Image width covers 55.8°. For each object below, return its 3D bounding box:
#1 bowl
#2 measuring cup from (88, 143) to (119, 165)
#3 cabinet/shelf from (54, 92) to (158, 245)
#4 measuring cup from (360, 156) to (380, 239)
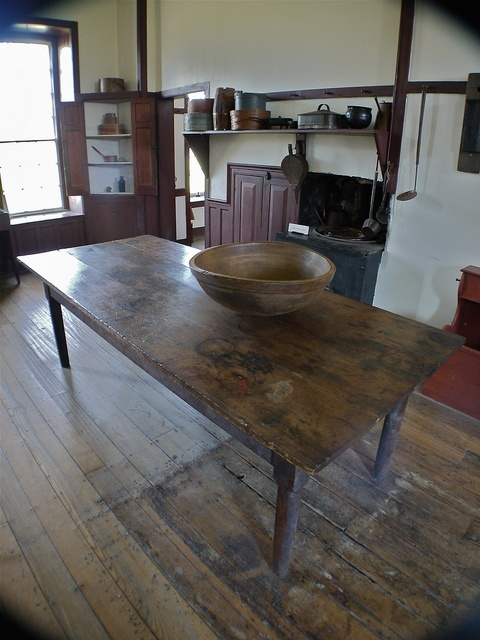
[{"bbox_3d":[0.085,-0.157,1.809,0.548,0.132,0.552,2,23,-1],"label":"bowl"},{"bbox_3d":[-1.711,-2.081,5.725,0.290,0.187,0.158,8,24,16],"label":"measuring cup"},{"bbox_3d":[-1.573,-1.758,5.681,1.151,1.794,0.558,0,22,-4],"label":"cabinet/shelf"},{"bbox_3d":[0.996,-0.896,3.343,0.139,0.585,0.325,8,24,16],"label":"measuring cup"}]
